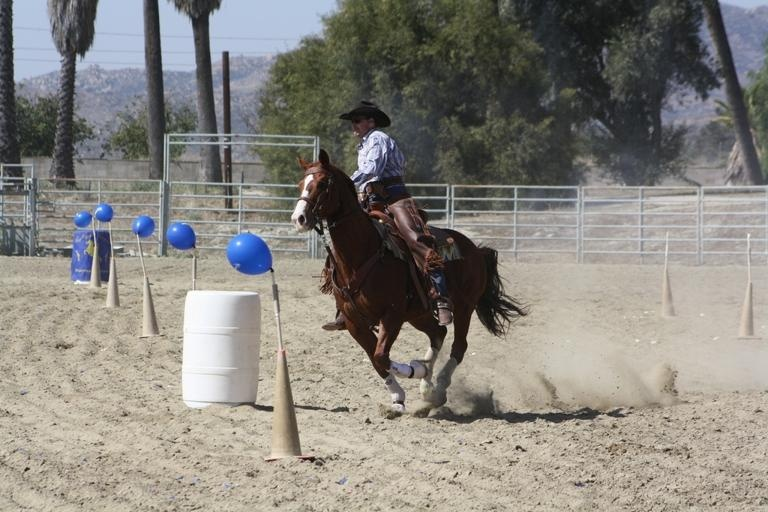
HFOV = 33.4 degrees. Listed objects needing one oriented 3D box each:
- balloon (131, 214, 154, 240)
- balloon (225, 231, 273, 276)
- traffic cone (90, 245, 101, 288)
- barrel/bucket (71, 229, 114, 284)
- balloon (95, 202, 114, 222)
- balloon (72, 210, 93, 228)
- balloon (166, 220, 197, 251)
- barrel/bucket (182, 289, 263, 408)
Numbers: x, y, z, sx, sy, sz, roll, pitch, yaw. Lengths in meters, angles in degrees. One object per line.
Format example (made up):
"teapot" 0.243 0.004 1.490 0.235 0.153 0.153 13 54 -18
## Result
"balloon" -7.427 -0.958 39.683 0.714 0.583 0.534 -19 30 -28
"balloon" -3.665 0.011 35.186 0.914 1.255 1.802 2 -4 0
"traffic cone" -9.557 0.286 42.325 0.313 1.431 0.540 -3 4 -13
"barrel/bucket" -9.847 -0.066 43.224 1.125 2.097 1.018 -1 -2 9
"balloon" -8.907 -1.423 41.161 0.567 0.712 0.592 -1 1 27
"balloon" -9.940 -1.194 42.252 0.584 0.486 0.481 -5 -38 29
"balloon" -5.941 -0.597 37.622 0.739 0.769 0.956 -2 4 -4
"barrel/bucket" -4.596 2.555 35.908 1.732 3.582 1.931 4 -3 -29
